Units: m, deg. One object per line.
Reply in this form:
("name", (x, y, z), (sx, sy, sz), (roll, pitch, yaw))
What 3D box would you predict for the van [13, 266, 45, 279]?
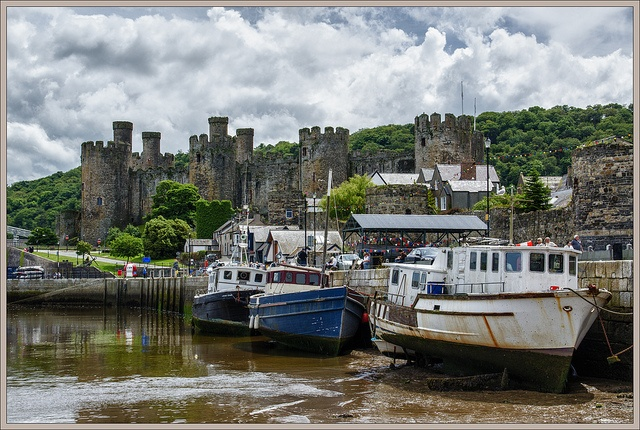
("van", (-19.761, 4.040, 66.460), (1.828, 0.803, 2.098), (-5, 6, -21))
